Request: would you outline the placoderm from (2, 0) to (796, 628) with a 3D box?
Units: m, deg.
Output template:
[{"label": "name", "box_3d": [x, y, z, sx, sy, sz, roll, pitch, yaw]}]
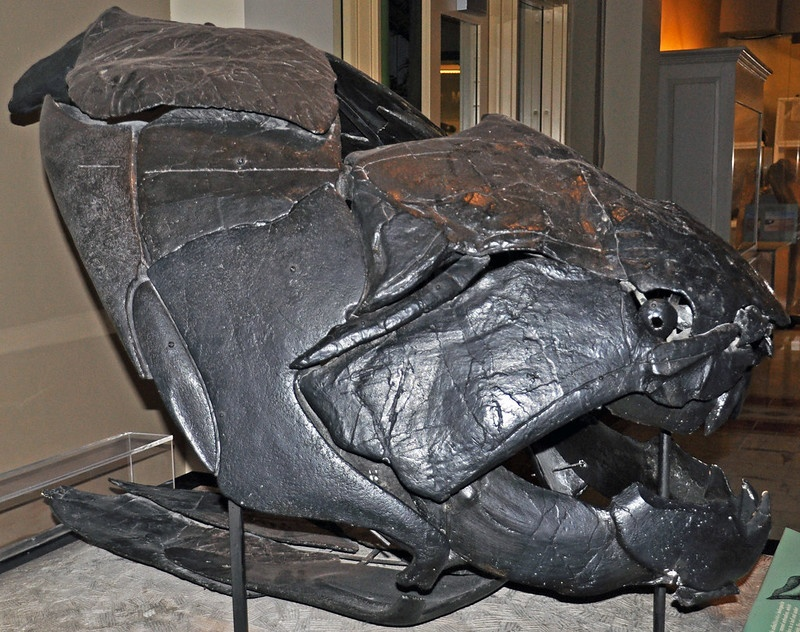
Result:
[{"label": "placoderm", "box_3d": [-0.131, -0.049, 2.450, 2.023, 1.145, 1.171, 13, 26, 22]}]
